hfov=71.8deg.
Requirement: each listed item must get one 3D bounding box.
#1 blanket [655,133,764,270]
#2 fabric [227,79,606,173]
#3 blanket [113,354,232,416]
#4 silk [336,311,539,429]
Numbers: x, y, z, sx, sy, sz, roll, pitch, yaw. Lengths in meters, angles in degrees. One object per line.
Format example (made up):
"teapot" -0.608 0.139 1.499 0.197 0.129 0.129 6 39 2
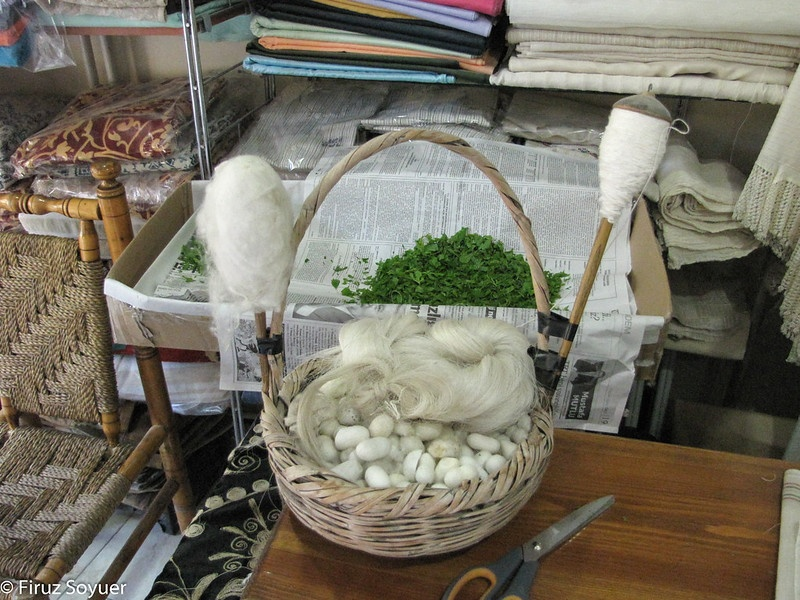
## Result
"blanket" 0.627 -0.228 1.199 0.311 0.272 0.127 0 -17 2
"fabric" 0.051 -0.496 1.513 0.686 0.071 0.422 7 47 12
"blanket" -0.571 0.223 1.431 0.254 0.168 0.056 3 -23 -5
"silk" 0.060 0.098 0.762 0.256 0.101 0.133 3 55 15
